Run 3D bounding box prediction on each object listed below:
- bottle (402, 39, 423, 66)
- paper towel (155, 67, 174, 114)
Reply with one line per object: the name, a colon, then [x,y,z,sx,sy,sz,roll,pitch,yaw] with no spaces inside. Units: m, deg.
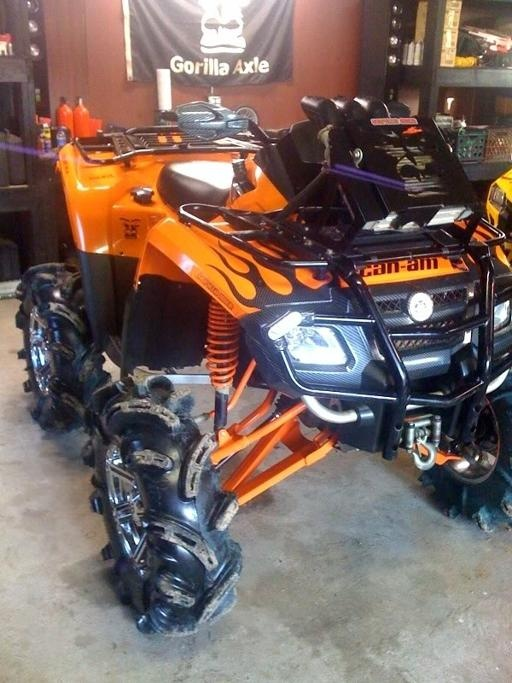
bottle: [1.508,-2.750,4.876,0.071,0.217,0.239,-6,14,-24]
paper towel: [-0.847,-2.325,4.698,0.160,0.344,0.155,4,17,13]
